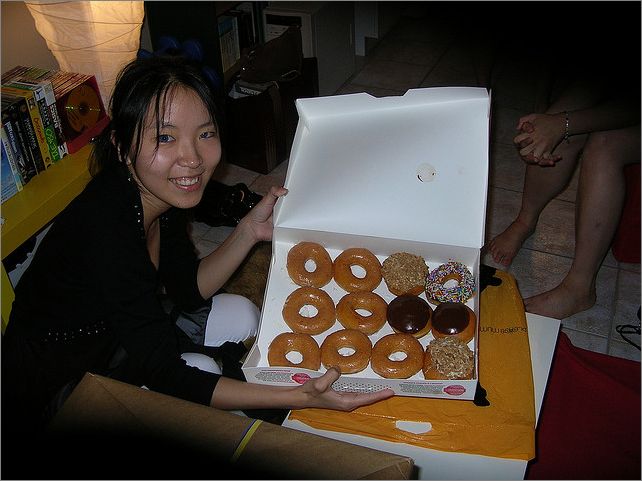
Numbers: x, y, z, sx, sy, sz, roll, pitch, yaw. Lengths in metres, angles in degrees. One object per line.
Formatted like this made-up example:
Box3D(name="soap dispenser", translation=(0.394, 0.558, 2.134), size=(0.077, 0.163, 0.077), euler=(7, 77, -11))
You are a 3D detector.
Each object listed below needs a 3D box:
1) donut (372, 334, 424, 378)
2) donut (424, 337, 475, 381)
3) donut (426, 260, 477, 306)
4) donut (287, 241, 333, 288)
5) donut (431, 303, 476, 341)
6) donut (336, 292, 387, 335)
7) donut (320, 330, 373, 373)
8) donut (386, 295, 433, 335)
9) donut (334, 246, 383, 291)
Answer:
Box3D(name="donut", translation=(0.247, 0.383, 1.520), size=(0.138, 0.051, 0.139), euler=(-6, 43, 13))
Box3D(name="donut", translation=(0.370, 0.350, 1.457), size=(0.169, 0.116, 0.175), euler=(6, 21, 8))
Box3D(name="donut", translation=(0.461, 0.168, 1.663), size=(0.155, 0.126, 0.162), euler=(-19, 39, -28))
Box3D(name="donut", translation=(-0.046, 0.089, 1.749), size=(0.166, 0.055, 0.164), euler=(-25, 66, -30))
Box3D(name="donut", translation=(0.432, 0.263, 1.524), size=(0.119, 0.069, 0.120), euler=(-9, 33, 12))
Box3D(name="donut", translation=(0.147, 0.253, 1.641), size=(0.152, 0.055, 0.151), euler=(-4, 45, -3))
Box3D(name="donut", translation=(0.086, 0.372, 1.554), size=(0.166, 0.124, 0.177), euler=(5, 29, 16))
Box3D(name="donut", translation=(0.299, 0.260, 1.595), size=(0.154, 0.075, 0.123), euler=(16, 27, 31))
Box3D(name="donut", translation=(0.138, 0.094, 1.803), size=(0.183, 0.150, 0.192), euler=(14, 31, 29))
